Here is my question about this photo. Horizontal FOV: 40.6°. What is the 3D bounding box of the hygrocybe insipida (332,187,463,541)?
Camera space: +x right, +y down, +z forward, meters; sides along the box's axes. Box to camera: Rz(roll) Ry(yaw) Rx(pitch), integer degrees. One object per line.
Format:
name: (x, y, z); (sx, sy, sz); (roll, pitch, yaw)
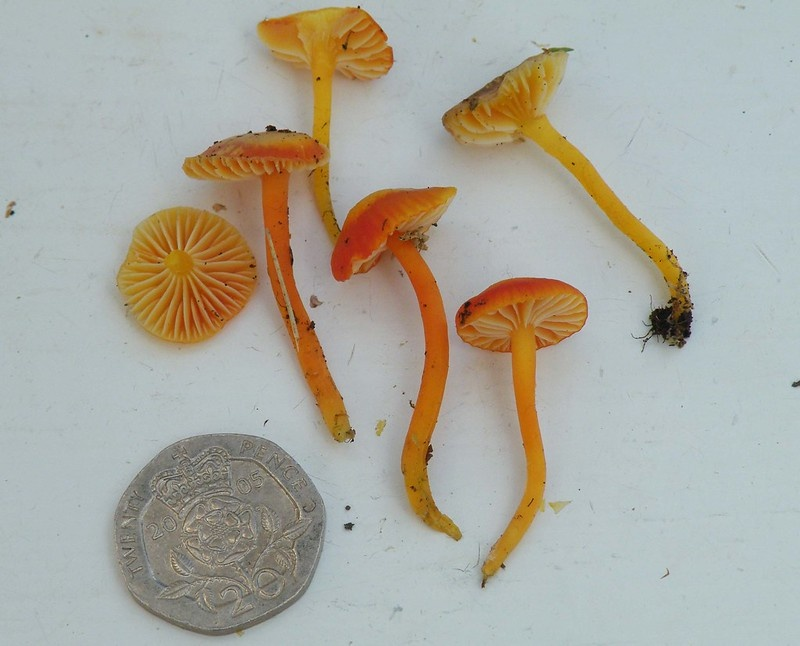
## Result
hygrocybe insipida: (-0.005, 0.117, 2.971); (0.300, 0.441, 1.007); (-3, 100, 4)

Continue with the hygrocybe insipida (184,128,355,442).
hygrocybe insipida: (-0.248, -0.174, 2.911); (0.353, 0.283, 0.822); (-31, 84, -7)

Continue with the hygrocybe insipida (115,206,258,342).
hygrocybe insipida: (-0.591, -0.134, 2.959); (0.339, 0.127, 0.369); (-36, 98, -11)

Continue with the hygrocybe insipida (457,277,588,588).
hygrocybe insipida: (0.322, 0.294, 2.927); (0.265, 0.331, 0.811); (3, 90, 12)

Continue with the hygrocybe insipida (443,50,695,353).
hygrocybe insipida: (0.533, -0.274, 3.085); (0.457, 0.523, 1.048); (-30, 92, -18)
